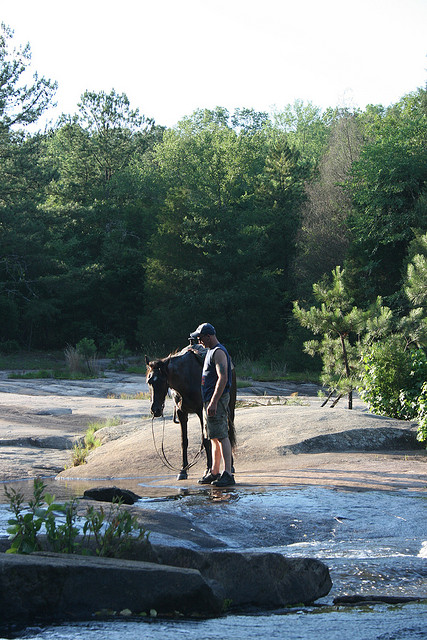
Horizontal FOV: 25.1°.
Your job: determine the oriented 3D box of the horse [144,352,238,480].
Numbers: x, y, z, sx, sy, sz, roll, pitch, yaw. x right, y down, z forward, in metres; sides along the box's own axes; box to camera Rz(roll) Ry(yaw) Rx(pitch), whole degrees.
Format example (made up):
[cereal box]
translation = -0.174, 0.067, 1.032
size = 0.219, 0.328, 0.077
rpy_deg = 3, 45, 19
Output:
[horse]
translation = -0.181, 1.122, 11.392
size = 0.486, 1.532, 1.839
rpy_deg = -5, -4, 32
